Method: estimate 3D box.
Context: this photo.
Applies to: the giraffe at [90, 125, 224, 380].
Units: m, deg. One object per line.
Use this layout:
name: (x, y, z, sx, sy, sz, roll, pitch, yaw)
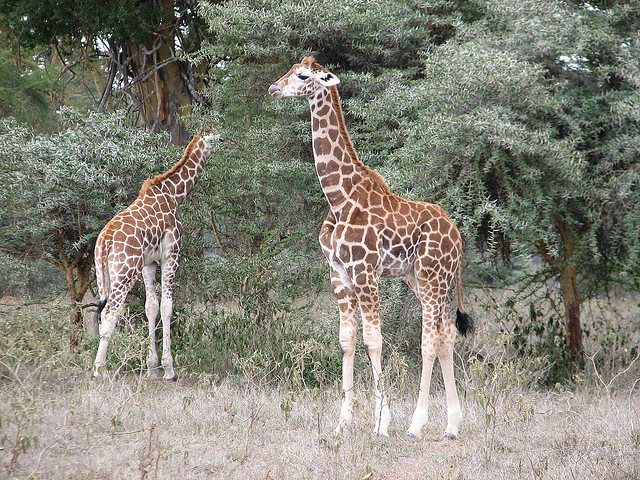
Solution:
giraffe: (-2.607, 0.115, 12.075, 1.290, 4.052, 2.137, -3, -6, 31)
